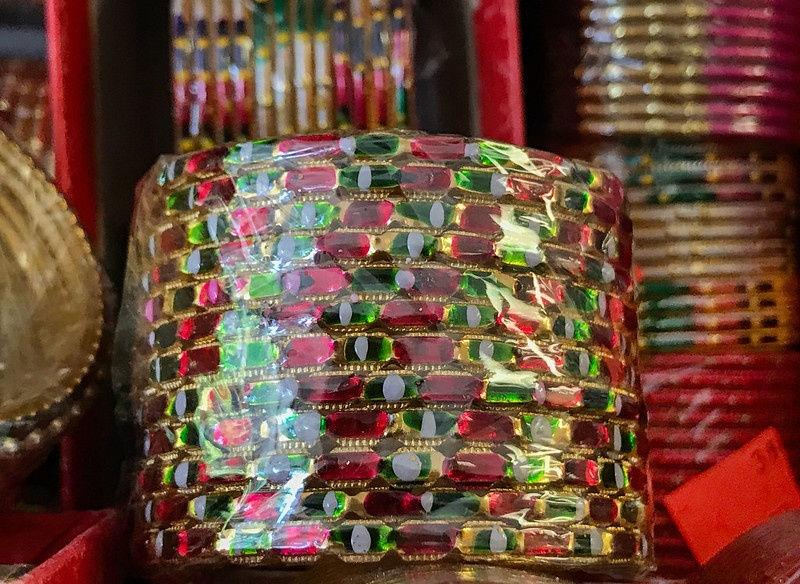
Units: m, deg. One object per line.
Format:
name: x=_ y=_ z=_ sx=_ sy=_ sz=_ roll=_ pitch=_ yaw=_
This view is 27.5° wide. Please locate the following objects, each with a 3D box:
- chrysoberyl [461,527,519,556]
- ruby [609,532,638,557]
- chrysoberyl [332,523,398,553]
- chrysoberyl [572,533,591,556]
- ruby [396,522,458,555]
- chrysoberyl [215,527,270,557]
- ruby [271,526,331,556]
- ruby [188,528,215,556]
chrysoberyl: x=0.091 y=0.256 z=1.683 sx=0.057 sy=0.024 sz=0.014 roll=-1 pitch=4 yaw=-7
ruby: x=0.235 y=0.265 z=1.717 sx=0.031 sy=0.025 sz=0.007 roll=-2 pitch=2 yaw=-32
chrysoberyl: x=-0.041 y=0.252 z=1.676 sx=0.066 sy=0.029 sz=0.016 roll=-1 pitch=1 yaw=-1
chrysoberyl: x=0.190 y=0.263 z=1.699 sx=0.023 sy=0.019 sz=0.006 roll=0 pitch=-1 yaw=-12
ruby: x=0.026 y=0.255 z=1.681 sx=0.062 sy=0.025 sz=0.028 roll=0 pitch=-43 yaw=-2
chrysoberyl: x=-0.164 y=0.253 z=1.683 sx=0.064 sy=0.028 sz=0.014 roll=-4 pitch=1 yaw=10
ruby: x=-0.104 y=0.255 z=1.677 sx=0.051 sy=0.026 sz=0.013 roll=0 pitch=9 yaw=0
ruby: x=-0.208 y=0.259 z=1.694 sx=0.030 sy=0.019 sz=0.028 roll=4 pitch=-11 yaw=-24
